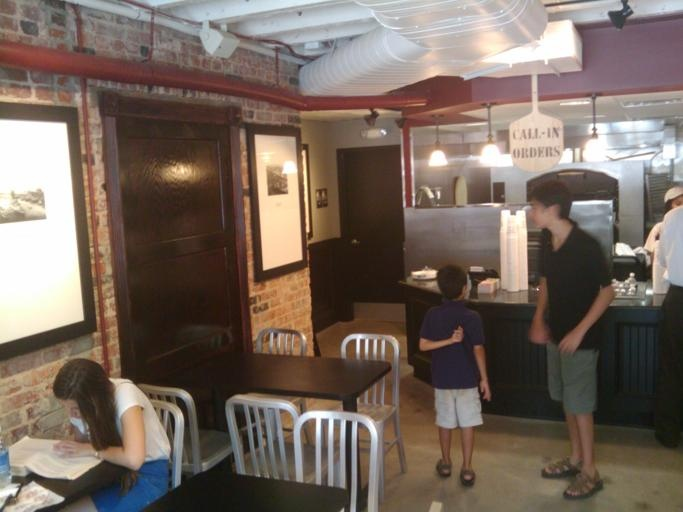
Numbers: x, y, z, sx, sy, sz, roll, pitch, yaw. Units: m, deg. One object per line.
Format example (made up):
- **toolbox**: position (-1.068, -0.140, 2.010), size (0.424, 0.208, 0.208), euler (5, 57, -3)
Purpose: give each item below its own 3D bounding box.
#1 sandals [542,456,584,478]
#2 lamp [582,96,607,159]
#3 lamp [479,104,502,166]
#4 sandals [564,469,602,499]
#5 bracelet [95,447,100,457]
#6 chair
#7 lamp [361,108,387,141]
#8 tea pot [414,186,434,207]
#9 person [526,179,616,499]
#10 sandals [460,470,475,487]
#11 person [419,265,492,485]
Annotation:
- **sandals**: position (1.610, 1.547, 3.977), size (0.280, 0.115, 0.122), euler (1, 1, 3)
- **lamp**: position (3.578, -1.753, 7.684), size (0.289, 0.967, 0.340), euler (-5, 12, 2)
- **lamp**: position (1.872, -1.479, 6.921), size (0.295, 0.722, 2.628), euler (-1, 10, 17)
- **sandals**: position (1.657, 1.574, 3.717), size (0.307, 0.123, 0.131), euler (-5, 1, -31)
- **bracelet**: position (-1.239, 0.991, 2.758), size (0.038, 0.043, 0.014), euler (15, 17, 40)
- **chair**: position (-0.250, 1.178, 3.837), size (1.459, 1.062, 1.165), euler (-7, 11, -17)
- **lamp**: position (0.435, -1.797, 7.395), size (0.434, 0.447, 0.269), euler (3, 19, 5)
- **tea pot**: position (1.169, -0.819, 7.449), size (0.179, 0.272, 0.350), euler (6, 14, 45)
- **person**: position (1.594, 0.553, 3.788), size (0.538, 2.117, 0.627), euler (0, 11, 20)
- **sandals**: position (0.906, 1.591, 3.903), size (0.067, 0.055, 0.134), euler (1, 4, 12)
- **person**: position (0.815, 0.848, 3.912), size (0.473, 1.570, 0.297), euler (-2, 10, 11)
